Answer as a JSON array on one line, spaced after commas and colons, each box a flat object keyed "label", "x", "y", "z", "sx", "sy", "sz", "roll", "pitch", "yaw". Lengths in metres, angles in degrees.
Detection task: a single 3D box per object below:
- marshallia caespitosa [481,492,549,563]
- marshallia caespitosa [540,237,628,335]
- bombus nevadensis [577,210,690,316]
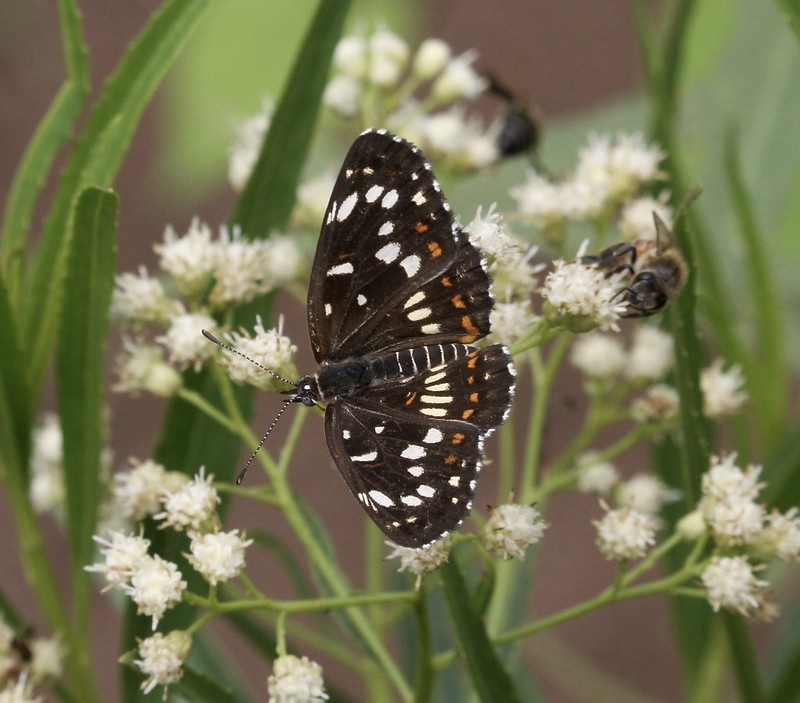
[{"label": "marshallia caespitosa", "x": 0.083, "y": 0.131, "z": 0.776, "sx": 0.048, "sy": 0.050, "sz": 0.044, "roll": -5, "pitch": -46, "yaw": 2}, {"label": "marshallia caespitosa", "x": 0.128, "y": -0.045, "z": 0.786, "sx": 0.066, "sy": 0.049, "sz": 0.070, "roll": -4, "pitch": -63, "yaw": -15}, {"label": "bombus nevadensis", "x": 0.177, "y": -0.062, "z": 0.769, "sx": 0.058, "sy": 0.056, "sz": 0.042, "roll": -33, "pitch": -53, "yaw": 26}]
